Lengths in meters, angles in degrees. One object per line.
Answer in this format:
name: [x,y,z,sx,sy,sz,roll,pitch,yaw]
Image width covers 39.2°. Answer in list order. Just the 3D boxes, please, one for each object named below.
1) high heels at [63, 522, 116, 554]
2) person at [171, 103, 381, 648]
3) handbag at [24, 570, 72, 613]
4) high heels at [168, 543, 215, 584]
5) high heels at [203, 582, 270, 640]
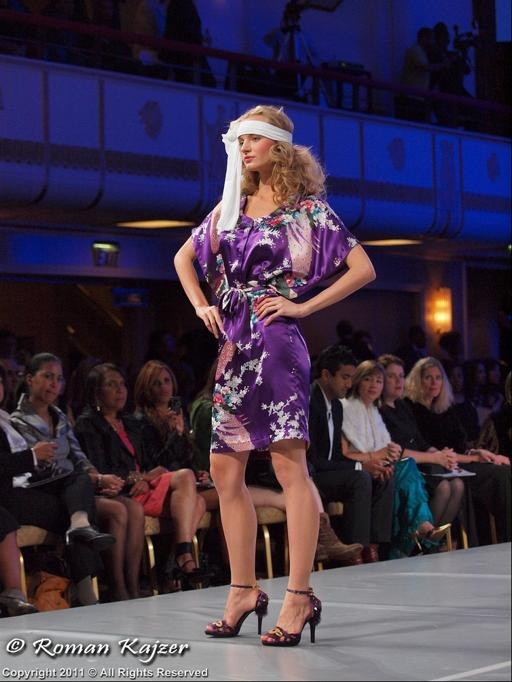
high heels: [-0.618,0.736,2.681,0.192,0.073,0.075,4,37,4]
person: [0.032,0.053,1.815,0.533,1.338,0.234,-2,-8,9]
handbag: [-0.815,0.968,2.790,0.174,0.150,0.069,-9,-22,-44]
high heels: [-0.294,0.976,3.089,0.128,0.128,0.341,4,-19,-24]
high heels: [-0.054,0.660,1.743,0.204,0.125,0.088,3,-9,-8]
